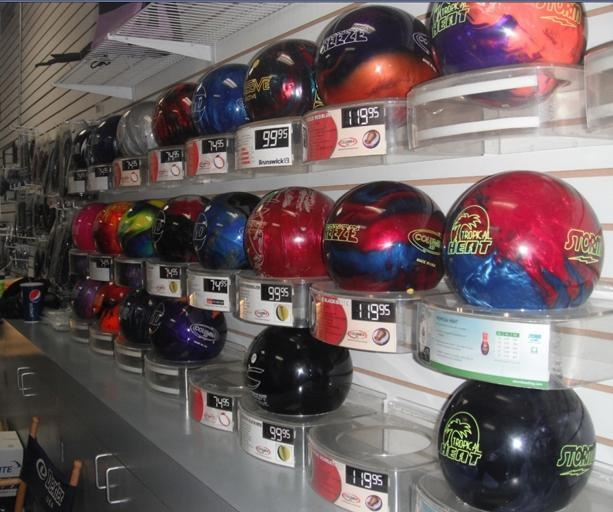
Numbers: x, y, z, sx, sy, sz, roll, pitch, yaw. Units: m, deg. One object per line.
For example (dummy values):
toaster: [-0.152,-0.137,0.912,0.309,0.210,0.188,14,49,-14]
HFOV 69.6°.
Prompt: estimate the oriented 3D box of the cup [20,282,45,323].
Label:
cup: [-1.912,0.330,3.103,0.129,0.269,0.168,0,1,-29]
